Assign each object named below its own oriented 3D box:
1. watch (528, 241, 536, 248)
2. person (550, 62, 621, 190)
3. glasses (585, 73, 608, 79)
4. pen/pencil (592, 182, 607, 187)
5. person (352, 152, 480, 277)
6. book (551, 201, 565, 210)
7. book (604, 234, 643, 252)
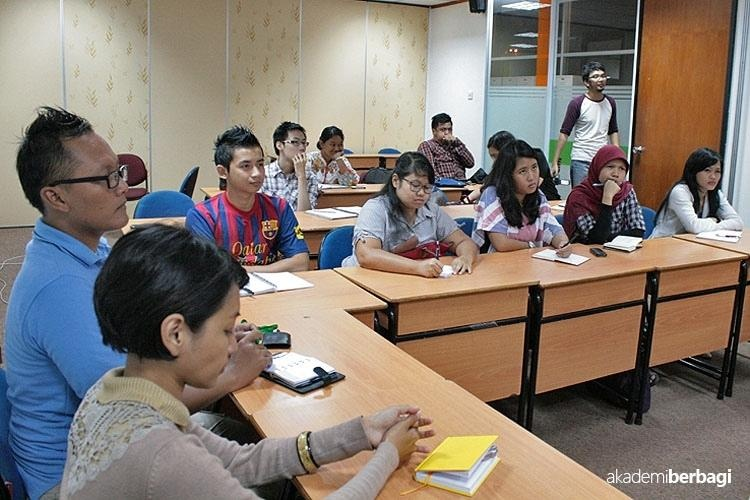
[{"bbox_3d":[1.070,-0.036,3.654,0.046,0.052,0.058,-2,10,-3],"label":"watch"},{"bbox_3d":[2.407,-1.043,6.068,0.745,1.980,0.526,-4,13,-7],"label":"person"},{"bbox_3d":[2.402,-1.915,5.885,0.126,0.037,0.125,-3,0,-13],"label":"glasses"},{"bbox_3d":[1.630,-0.477,3.907,0.089,0.025,0.025,1,-18,29],"label":"pen/pencil"},{"bbox_3d":[0.233,-0.169,3.258,0.752,0.798,0.910,-2,12,-20],"label":"person"},{"bbox_3d":[1.711,-0.412,5.015,0.155,0.036,0.154,-9,17,-34],"label":"book"},{"bbox_3d":[1.618,-0.064,3.521,0.139,0.037,0.137,-24,27,-37],"label":"book"}]
